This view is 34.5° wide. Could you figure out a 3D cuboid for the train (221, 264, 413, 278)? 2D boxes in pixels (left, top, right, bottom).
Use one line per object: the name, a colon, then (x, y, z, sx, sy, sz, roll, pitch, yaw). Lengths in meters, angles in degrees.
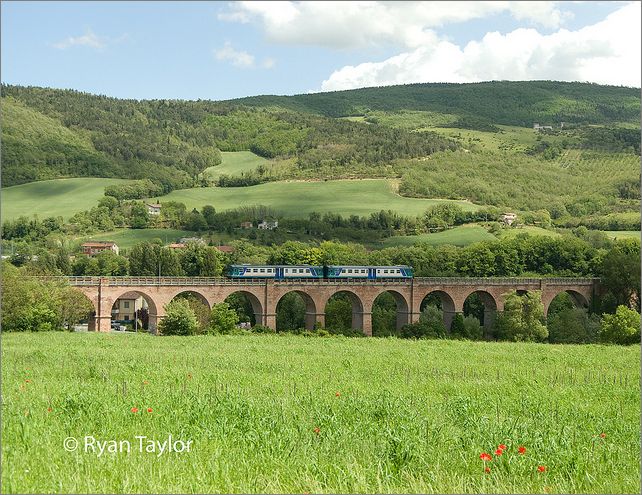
train: (-0.294, 4.629, 196.557, 33.529, 2.787, 6.445, -2, 0, -1)
